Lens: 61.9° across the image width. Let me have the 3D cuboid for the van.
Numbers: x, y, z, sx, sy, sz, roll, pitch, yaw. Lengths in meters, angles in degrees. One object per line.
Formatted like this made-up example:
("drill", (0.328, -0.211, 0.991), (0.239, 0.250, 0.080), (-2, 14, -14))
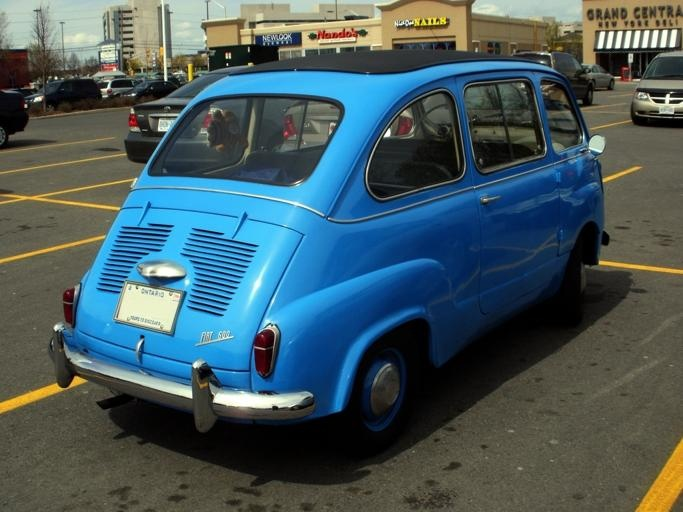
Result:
("van", (0.194, -0.425, 4.142), (2.131, 1.698, 3.927), (12, 23, 43))
